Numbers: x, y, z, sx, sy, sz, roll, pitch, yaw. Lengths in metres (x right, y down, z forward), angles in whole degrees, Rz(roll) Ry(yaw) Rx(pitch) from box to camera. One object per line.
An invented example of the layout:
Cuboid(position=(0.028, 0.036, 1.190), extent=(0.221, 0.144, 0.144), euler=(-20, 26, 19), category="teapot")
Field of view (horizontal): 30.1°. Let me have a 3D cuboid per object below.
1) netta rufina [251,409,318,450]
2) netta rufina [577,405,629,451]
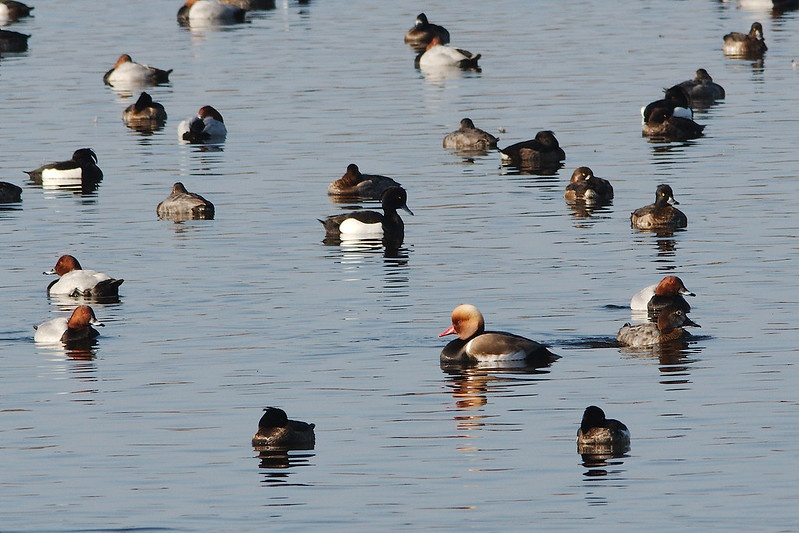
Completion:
Cuboid(position=(-2.124, 2.969, 27.292), extent=(1.124, 0.930, 0.736), euler=(4, 84, 0), category="netta rufina")
Cuboid(position=(3.615, 2.947, 27.179), extent=(0.945, 1.275, 0.705), euler=(-3, 92, 31), category="netta rufina")
